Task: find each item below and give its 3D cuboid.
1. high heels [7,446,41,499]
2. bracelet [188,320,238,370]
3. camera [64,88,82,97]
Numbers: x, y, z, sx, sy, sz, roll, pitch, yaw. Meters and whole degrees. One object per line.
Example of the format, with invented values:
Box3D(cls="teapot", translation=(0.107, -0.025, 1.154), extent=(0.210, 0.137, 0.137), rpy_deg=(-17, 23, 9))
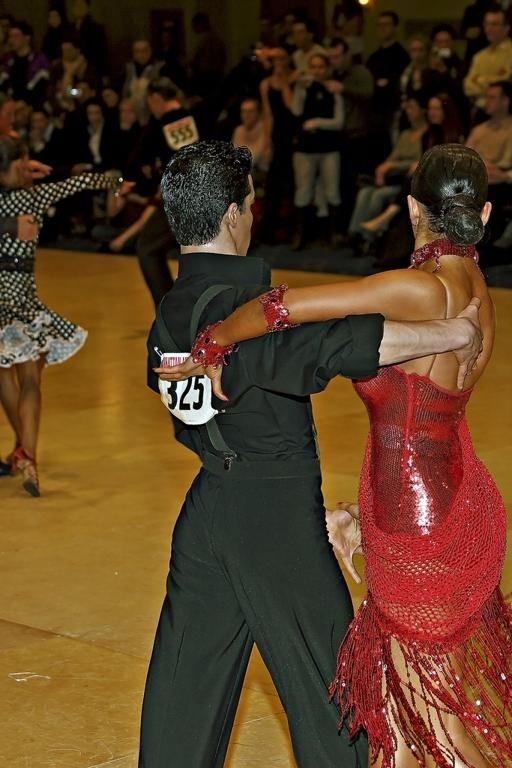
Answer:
Box3D(cls="high heels", translation=(-1.545, 0.591, 4.607), extent=(0.145, 0.316, 0.118), rpy_deg=(-33, -4, 24))
Box3D(cls="bracelet", translation=(-0.078, -0.065, 1.179), extent=(0.071, 0.081, 0.044), rpy_deg=(19, 19, -22))
Box3D(cls="camera", translation=(-3.461, -5.554, 13.160), extent=(0.229, 0.065, 0.282), rpy_deg=(4, 19, -1))
